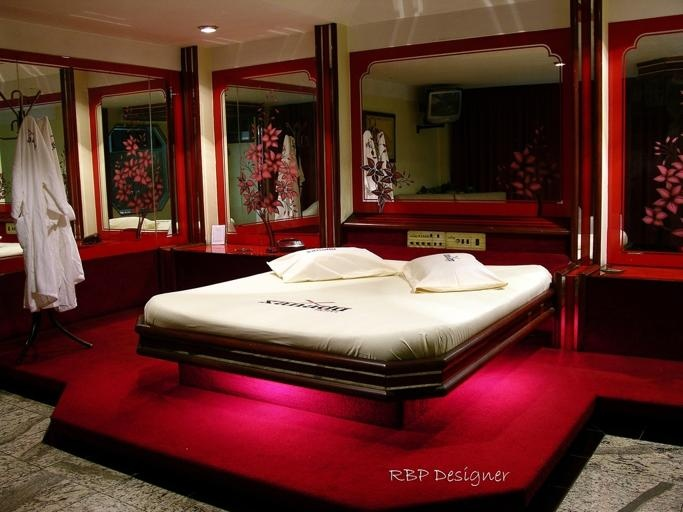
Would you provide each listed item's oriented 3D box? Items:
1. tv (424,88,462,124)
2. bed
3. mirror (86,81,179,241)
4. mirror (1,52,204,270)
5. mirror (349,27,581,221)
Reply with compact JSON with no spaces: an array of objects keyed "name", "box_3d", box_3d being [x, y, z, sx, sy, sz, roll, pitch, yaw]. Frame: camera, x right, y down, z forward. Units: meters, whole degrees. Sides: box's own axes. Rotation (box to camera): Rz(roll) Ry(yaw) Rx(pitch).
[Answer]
[{"name":"tv","box_3d":[0.867,-1.241,3.874,0.273,0.271,0.077,2,11,15]},{"name":"bed","box_3d":[0.023,0.339,2.679,2.453,0.360,1.475,0,11,5]},{"name":"mirror","box_3d":[-2.032,-0.977,4.634,0.141,1.559,0.967,6,13,33]},{"name":"mirror","box_3d":[-2.173,-0.887,4.172,0.165,1.825,2.249,2,4,30]},{"name":"mirror","box_3d":[1.078,-1.109,3.800,1.785,1.221,0.039,6,17,25]}]
